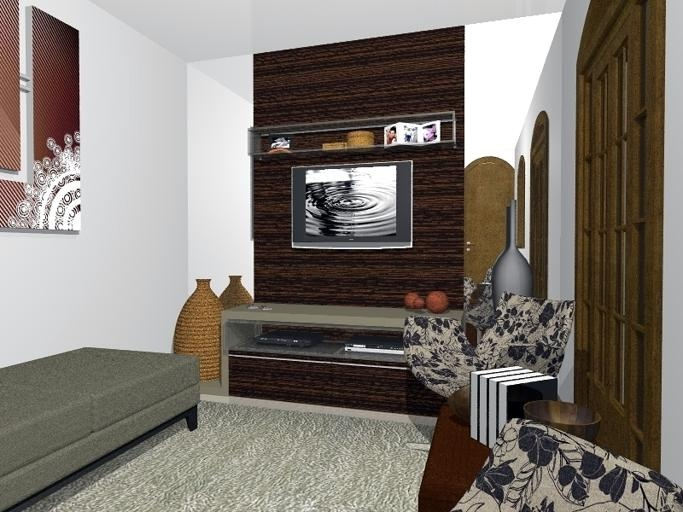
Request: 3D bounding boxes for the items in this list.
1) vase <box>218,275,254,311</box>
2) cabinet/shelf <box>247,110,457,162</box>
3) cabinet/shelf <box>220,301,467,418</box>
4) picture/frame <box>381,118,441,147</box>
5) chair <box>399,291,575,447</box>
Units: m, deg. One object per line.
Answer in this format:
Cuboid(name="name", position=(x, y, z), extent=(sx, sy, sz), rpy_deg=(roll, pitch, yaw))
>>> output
Cuboid(name="vase", position=(-0.982, 0.337, 4.222), extent=(0.339, 0.282, 0.313), rpy_deg=(1, 2, 22))
Cuboid(name="cabinet/shelf", position=(0.103, -1.041, 4.003), extent=(1.821, 0.291, 0.243), rpy_deg=(-1, 11, 11))
Cuboid(name="cabinet/shelf", position=(-0.270, 0.939, 3.927), extent=(1.855, 0.679, 0.619), rpy_deg=(18, -24, -39))
Cuboid(name="picture/frame", position=(0.590, -1.011, 3.759), extent=(0.464, 0.229, 0.204), rpy_deg=(1, 4, 9))
Cuboid(name="chair", position=(0.863, 0.592, 2.715), extent=(0.922, 0.549, 0.860), rpy_deg=(-4, 13, 16))
